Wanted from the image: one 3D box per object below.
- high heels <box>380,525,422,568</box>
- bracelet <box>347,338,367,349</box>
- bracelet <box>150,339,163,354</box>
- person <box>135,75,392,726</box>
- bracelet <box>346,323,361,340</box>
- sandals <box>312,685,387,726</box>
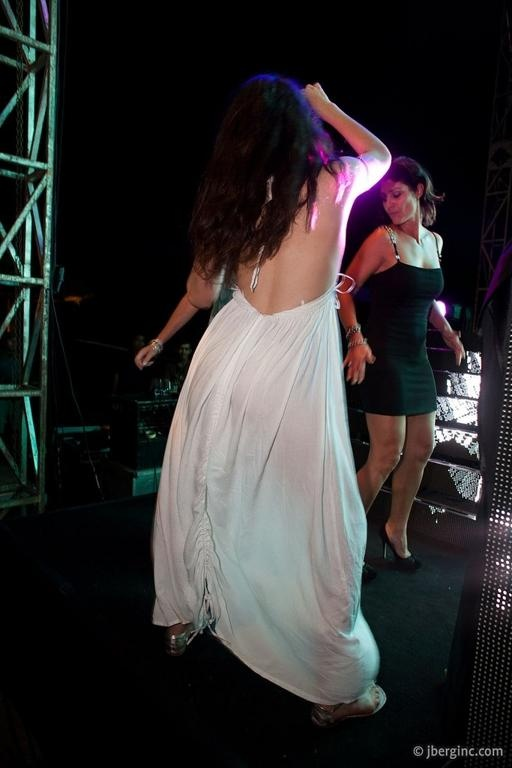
[{"bbox_3d":[0.632,0.714,2.456,0.211,0.208,0.102,3,5,34],"label":"high heels"},{"bbox_3d":[0.349,-0.138,1.871,0.035,0.024,0.046,-2,-11,-7],"label":"bracelet"},{"bbox_3d":[-0.333,-0.125,1.817,0.034,0.031,0.049,4,0,-8],"label":"bracelet"},{"bbox_3d":[0.040,0.000,1.495,0.683,1.665,0.294,5,6,29],"label":"person"},{"bbox_3d":[0.342,-0.181,1.947,0.042,0.063,0.024,-1,-1,3],"label":"bracelet"},{"bbox_3d":[0.216,0.789,1.400,0.209,0.105,0.088,-5,-2,1],"label":"sandals"}]
